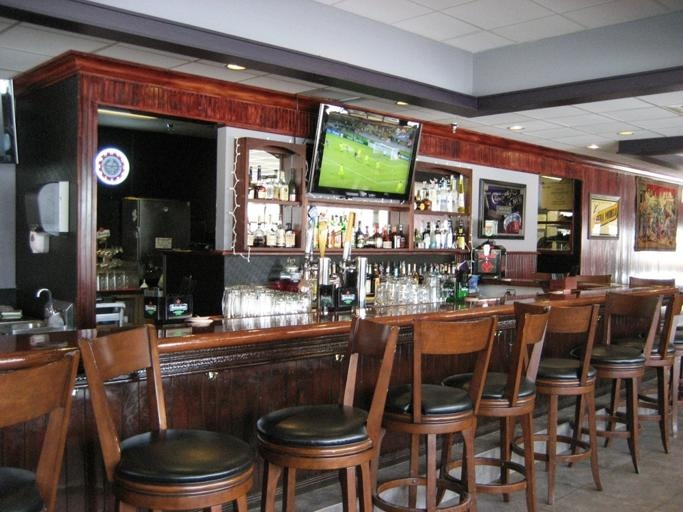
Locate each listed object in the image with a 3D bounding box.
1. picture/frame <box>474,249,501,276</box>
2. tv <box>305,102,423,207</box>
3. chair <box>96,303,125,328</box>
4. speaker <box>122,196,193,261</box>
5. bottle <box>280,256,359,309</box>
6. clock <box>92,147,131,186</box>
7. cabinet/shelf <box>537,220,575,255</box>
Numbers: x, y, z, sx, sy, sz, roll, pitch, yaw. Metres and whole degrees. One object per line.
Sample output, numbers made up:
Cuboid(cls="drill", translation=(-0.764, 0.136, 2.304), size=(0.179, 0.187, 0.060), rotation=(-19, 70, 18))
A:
Cuboid(cls="picture/frame", translation=(1.850, 0.080, 7.161), size=(0.378, 0.324, 0.202), rotation=(0, 6, -14))
Cuboid(cls="tv", translation=(0.212, -1.214, 6.529), size=(1.605, 1.002, 0.158), rotation=(2, 22, -35))
Cuboid(cls="chair", translation=(-2.180, 0.560, 5.273), size=(0.354, 0.220, 0.247), rotation=(5, -7, -42))
Cuboid(cls="speaker", translation=(-2.440, -0.356, 7.475), size=(0.851, 0.801, 0.455), rotation=(-3, 3, -17))
Cuboid(cls="bottle", translation=(-0.215, 0.210, 4.407), size=(0.467, 0.259, 0.650), rotation=(1, -1, -26))
Cuboid(cls="clock", translation=(-3.181, -1.248, 7.814), size=(0.401, 0.477, 0.182), rotation=(-4, 3, -24))
Cuboid(cls="cabinet/shelf", translation=(4.137, -0.354, 10.756), size=(0.397, 0.630, 0.733), rotation=(-3, 4, -41))
